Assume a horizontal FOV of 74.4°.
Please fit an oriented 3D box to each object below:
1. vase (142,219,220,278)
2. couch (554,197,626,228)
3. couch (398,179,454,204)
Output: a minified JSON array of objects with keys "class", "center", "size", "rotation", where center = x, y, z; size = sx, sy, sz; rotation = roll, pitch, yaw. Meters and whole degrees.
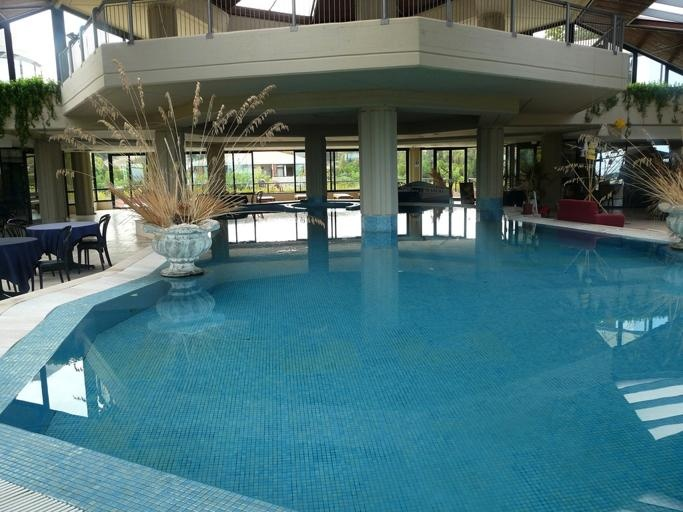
[{"class":"vase","center":[-2.091,-0.130,6.071],"size":[0.872,0.574,0.857],"rotation":[-1,14,-8]},{"class":"couch","center":[5.978,-1.082,10.917],"size":[0.375,0.539,1.794],"rotation":[-4,11,-14]},{"class":"couch","center":[3.715,-2.826,19.734],"size":[2.395,1.304,4.174],"rotation":[1,2,9]}]
